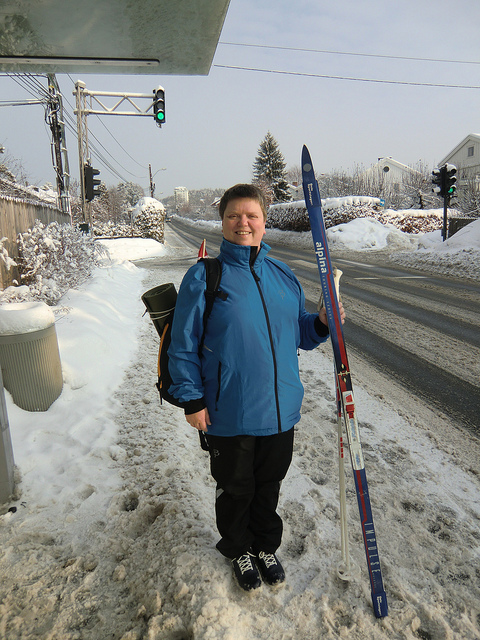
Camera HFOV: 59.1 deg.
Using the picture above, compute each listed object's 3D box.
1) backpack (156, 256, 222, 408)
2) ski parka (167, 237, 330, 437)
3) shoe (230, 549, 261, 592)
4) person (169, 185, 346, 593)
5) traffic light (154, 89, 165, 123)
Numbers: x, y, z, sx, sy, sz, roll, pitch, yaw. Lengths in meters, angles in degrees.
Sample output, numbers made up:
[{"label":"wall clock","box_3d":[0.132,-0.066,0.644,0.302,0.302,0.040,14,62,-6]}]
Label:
[{"label":"backpack","box_3d":[-0.263,0.112,2.100,0.318,0.850,0.463,-7,16,-28]},{"label":"ski parka","box_3d":[-0.012,0.079,2.035,0.645,0.882,0.412,-1,14,-7]},{"label":"shoe","box_3d":[0.022,1.205,2.083,0.106,0.122,0.312,2,-1,-13]},{"label":"person","box_3d":[0.010,0.303,2.102,0.554,1.880,0.616,5,14,17]},{"label":"traffic light","box_3d":[-2.206,-5.800,11.551,0.220,0.750,0.578,-4,15,-17]}]
